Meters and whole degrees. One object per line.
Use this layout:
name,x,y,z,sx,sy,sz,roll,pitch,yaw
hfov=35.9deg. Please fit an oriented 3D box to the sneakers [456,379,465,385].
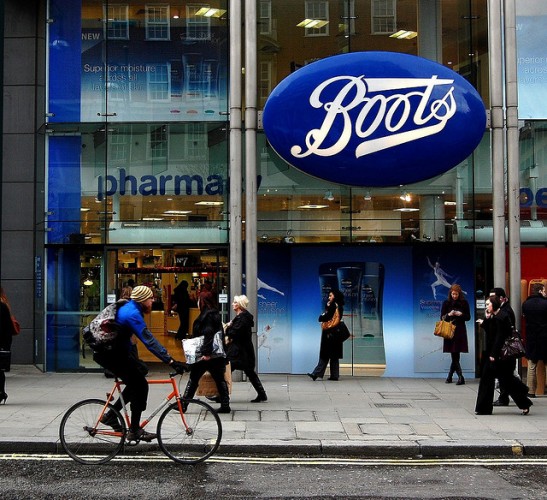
sneakers,3.676,2.566,16.573,0.154,0.131,0.273,-1,-1,13

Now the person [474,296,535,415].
person,3.726,1.662,13.715,0.863,1.890,1.019,-1,-1,17

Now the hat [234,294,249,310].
hat,-0.525,0.892,14.067,0.225,0.275,0.312,-1,11,-26

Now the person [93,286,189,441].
person,-1.804,1.442,10.644,1.078,1.957,0.683,-1,-1,-1

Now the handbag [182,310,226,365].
handbag,-1.096,1.372,13.221,0.664,0.880,0.887,2,-7,-2

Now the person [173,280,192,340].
person,-2.129,1.428,20.373,0.501,1.529,0.424,-2,23,-9

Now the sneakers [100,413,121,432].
sneakers,-2.054,2.163,10.692,0.187,0.258,0.097,21,-40,-22

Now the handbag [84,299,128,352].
handbag,-2.114,0.944,10.592,0.535,0.615,0.294,-1,-1,-12

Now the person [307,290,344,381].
person,1.081,1.714,16.845,0.604,1.769,0.501,-1,-1,2

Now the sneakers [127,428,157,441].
sneakers,-1.684,2.354,10.735,0.272,0.136,0.162,-6,-1,2

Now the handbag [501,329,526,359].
handbag,3.844,1.496,13.420,0.408,0.437,0.210,0,-1,-38

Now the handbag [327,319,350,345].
handbag,1.287,1.630,16.652,0.380,0.405,0.415,-1,-4,21

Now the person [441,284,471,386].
person,3.611,1.660,16.751,0.559,1.938,0.465,-1,-1,16

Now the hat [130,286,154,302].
hat,-1.701,0.560,10.774,0.214,0.074,0.210,0,44,5
